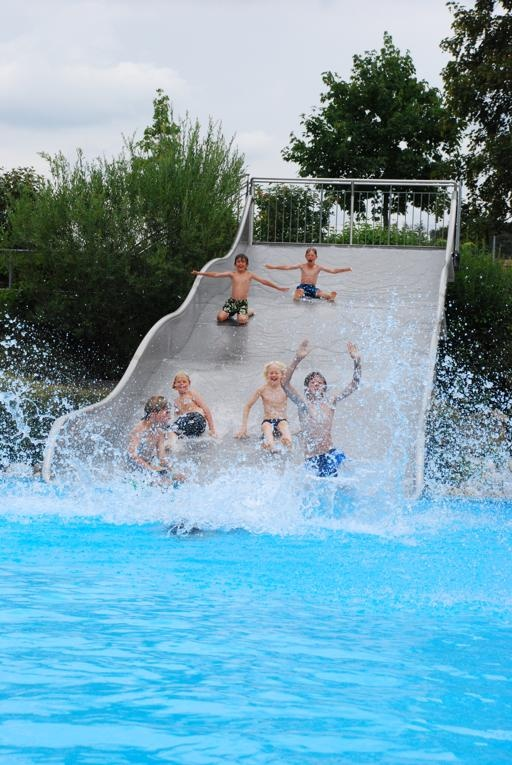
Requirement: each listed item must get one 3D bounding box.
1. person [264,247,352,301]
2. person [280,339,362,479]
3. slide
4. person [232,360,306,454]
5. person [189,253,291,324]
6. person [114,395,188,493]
[{"bbox_3d":[0.807,-1.636,10.500,1.224,0.784,0.798,6,15,13],"label":"person"},{"bbox_3d":[0.595,0.224,6.218,0.629,1.120,1.579,3,2,7],"label":"person"},{"bbox_3d":[0.068,-0.378,8.978,2.960,1.515,6.233,2,14,9],"label":"slide"},{"bbox_3d":[0.193,0.252,6.590,0.765,0.717,0.956,2,18,-2],"label":"person"},{"bbox_3d":[-0.209,-1.317,9.825,1.278,0.954,0.616,6,12,-2],"label":"person"},{"bbox_3d":[-0.946,0.520,6.267,0.700,1.059,0.641,3,4,17],"label":"person"}]
